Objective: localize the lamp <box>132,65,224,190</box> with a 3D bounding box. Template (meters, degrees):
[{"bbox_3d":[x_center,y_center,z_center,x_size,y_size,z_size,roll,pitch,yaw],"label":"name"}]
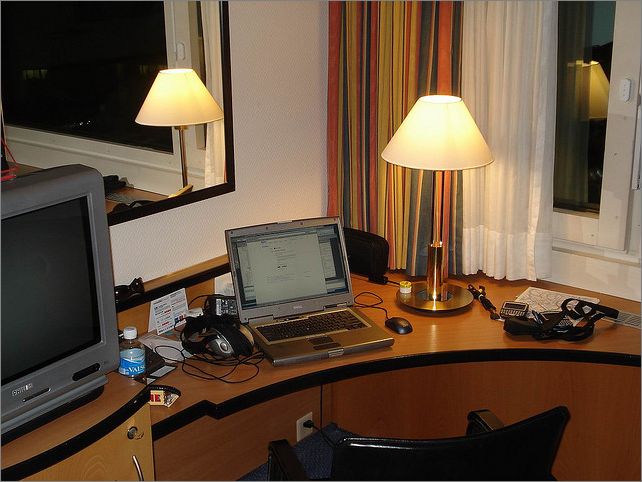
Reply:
[{"bbox_3d":[-0.597,-0.454,2.181,0.288,0.571,0.304,6,34,3],"label":"lamp"}]

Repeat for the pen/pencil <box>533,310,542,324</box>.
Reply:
[{"bbox_3d":[0.866,0.302,2.047,0.017,0.017,0.068,6,35,-16],"label":"pen/pencil"}]

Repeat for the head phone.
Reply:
[{"bbox_3d":[-0.385,0.351,1.870,0.198,0.080,0.152,4,3,30],"label":"head phone"}]

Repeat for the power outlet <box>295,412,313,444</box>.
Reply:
[{"bbox_3d":[-0.090,0.968,2.653,0.015,0.159,0.151,12,18,35],"label":"power outlet"}]

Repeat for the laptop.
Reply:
[{"bbox_3d":[-0.061,0.201,1.981,0.545,0.419,0.571,-10,29,-25],"label":"laptop"}]

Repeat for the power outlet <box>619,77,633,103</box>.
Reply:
[{"bbox_3d":[1.286,-0.635,2.144,0.047,0.094,0.017,0,12,26],"label":"power outlet"}]

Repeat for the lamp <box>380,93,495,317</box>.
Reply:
[{"bbox_3d":[0.490,-0.160,2.176,0.431,0.901,0.416,-4,11,4],"label":"lamp"}]
